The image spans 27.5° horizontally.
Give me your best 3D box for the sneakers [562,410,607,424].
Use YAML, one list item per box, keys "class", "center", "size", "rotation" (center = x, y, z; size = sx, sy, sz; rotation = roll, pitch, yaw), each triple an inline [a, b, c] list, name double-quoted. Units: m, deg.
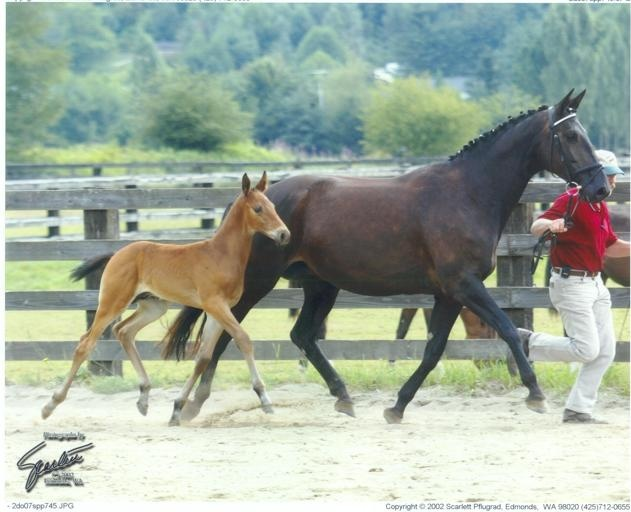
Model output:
- class: "sneakers"
  center: [4.256, 2.517, 20.202]
  size: [0.745, 0.244, 0.231]
  rotation: [2, -1, 1]
